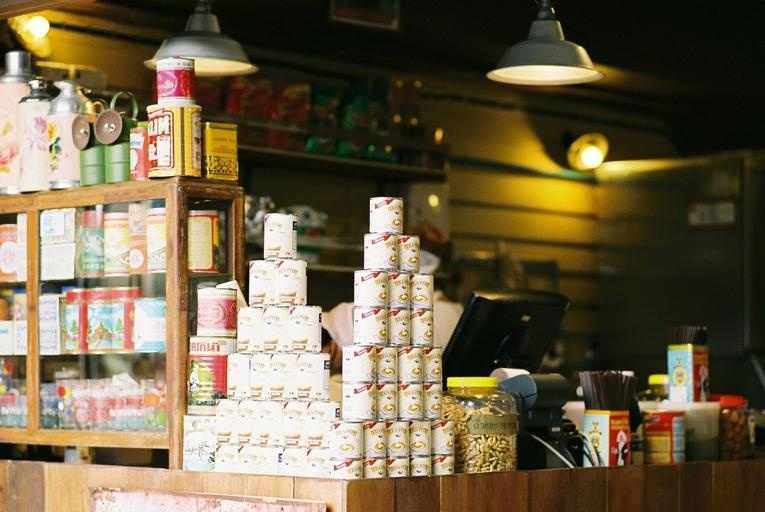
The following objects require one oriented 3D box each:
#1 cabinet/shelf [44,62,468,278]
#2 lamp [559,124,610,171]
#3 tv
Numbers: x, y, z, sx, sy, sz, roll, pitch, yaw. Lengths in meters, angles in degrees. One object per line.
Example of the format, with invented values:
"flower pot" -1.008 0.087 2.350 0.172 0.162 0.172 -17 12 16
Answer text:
"cabinet/shelf" -0.480 -0.620 12.052 2.384 1.441 1.201 5 -10 -36
"lamp" 1.467 -0.761 13.049 0.313 0.281 0.293 -14 25 -9
"tv" 0.604 0.427 9.218 0.706 0.588 0.343 6 10 -31
